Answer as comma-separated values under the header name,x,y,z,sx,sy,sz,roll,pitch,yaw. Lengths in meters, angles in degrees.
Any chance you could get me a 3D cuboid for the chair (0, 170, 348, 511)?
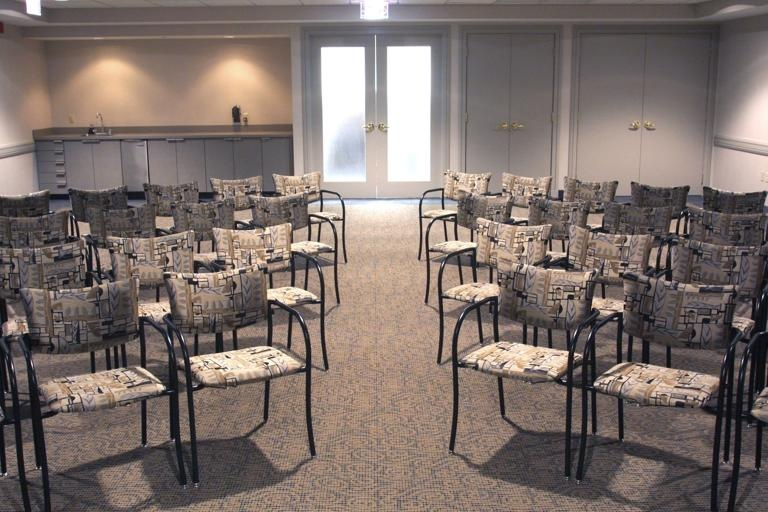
name,x,y,z,sx,sy,sz,roll,pitch,yaw
chair,-1.399,0.577,4.009,2.230,1.474,0.880,-4,14,-28
